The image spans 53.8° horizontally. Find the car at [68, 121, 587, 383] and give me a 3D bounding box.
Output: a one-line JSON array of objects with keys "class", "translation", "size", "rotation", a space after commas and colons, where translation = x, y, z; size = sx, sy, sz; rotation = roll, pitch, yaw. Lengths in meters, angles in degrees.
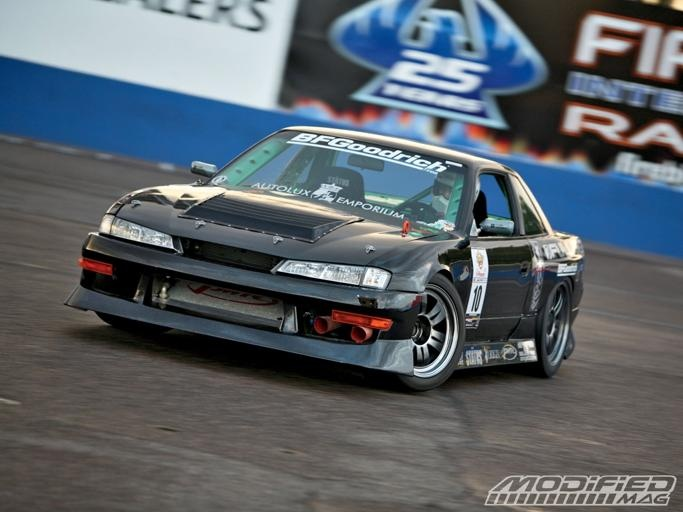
[{"class": "car", "translation": [0.093, -0.456, 5.924], "size": [2.720, 1.016, 3.619], "rotation": [18, 24, 18]}]
